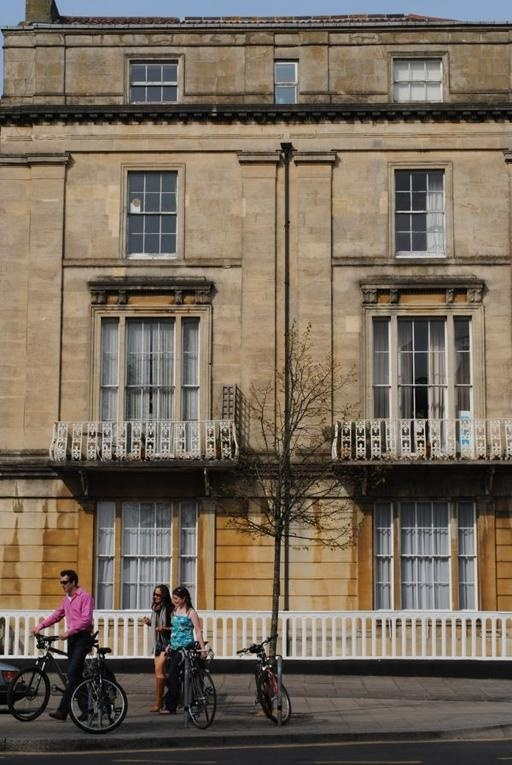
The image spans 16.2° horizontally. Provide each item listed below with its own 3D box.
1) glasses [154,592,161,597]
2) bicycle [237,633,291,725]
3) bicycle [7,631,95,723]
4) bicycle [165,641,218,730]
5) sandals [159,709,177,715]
[{"bbox_3d":[-1.546,3.255,27.627,0.085,0.115,0.066,-7,-11,42],"label":"glasses"},{"bbox_3d":[0.145,4.403,25.964,0.587,0.824,1.294,-16,-13,-9],"label":"bicycle"},{"bbox_3d":[-2.769,4.273,25.767,1.552,1.133,0.888,4,-10,-9],"label":"bicycle"},{"bbox_3d":[-0.908,4.345,25.860,0.516,1.278,1.149,0,-12,-3],"label":"bicycle"},{"bbox_3d":[-1.341,4.870,26.624,0.219,0.110,0.086,10,-14,0],"label":"sandals"}]
